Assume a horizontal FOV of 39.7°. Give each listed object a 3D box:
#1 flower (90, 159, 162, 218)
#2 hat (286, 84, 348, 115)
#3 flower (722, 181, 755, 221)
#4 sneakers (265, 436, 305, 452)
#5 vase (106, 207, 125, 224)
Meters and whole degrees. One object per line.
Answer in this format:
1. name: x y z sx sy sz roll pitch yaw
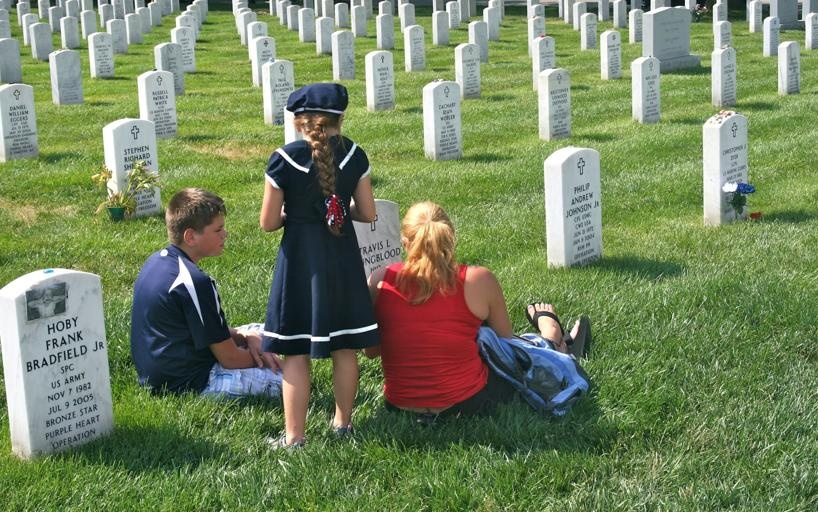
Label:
1. flower: -4.685 -1.119 19.055 0.928 0.886 1.007 11 22 23
2. hat: -1.041 -1.857 13.482 0.471 0.188 0.441 -11 23 -23
3. flower: 5.347 -0.869 18.350 0.475 0.624 0.469 1 14 22
4. sneakers: -1.491 2.266 13.749 0.437 0.153 0.186 5 -3 5
5. vase: -4.840 -0.668 18.801 0.249 0.201 0.256 3 9 26
